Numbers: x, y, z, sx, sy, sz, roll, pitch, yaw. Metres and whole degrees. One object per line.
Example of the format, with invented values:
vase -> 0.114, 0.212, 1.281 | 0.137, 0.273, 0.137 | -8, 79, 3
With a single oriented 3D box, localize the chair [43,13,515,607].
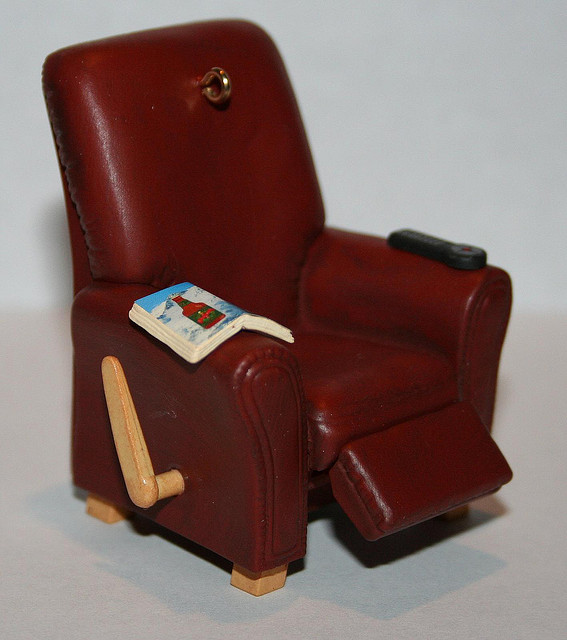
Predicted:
chair -> -0.009, -0.096, 1.459 | 0.758, 1.190, 0.844 | -7, 15, -33

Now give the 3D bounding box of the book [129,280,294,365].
book -> -0.142, -0.019, 1.232 | 0.198, 0.054, 0.191 | -29, 45, -34
